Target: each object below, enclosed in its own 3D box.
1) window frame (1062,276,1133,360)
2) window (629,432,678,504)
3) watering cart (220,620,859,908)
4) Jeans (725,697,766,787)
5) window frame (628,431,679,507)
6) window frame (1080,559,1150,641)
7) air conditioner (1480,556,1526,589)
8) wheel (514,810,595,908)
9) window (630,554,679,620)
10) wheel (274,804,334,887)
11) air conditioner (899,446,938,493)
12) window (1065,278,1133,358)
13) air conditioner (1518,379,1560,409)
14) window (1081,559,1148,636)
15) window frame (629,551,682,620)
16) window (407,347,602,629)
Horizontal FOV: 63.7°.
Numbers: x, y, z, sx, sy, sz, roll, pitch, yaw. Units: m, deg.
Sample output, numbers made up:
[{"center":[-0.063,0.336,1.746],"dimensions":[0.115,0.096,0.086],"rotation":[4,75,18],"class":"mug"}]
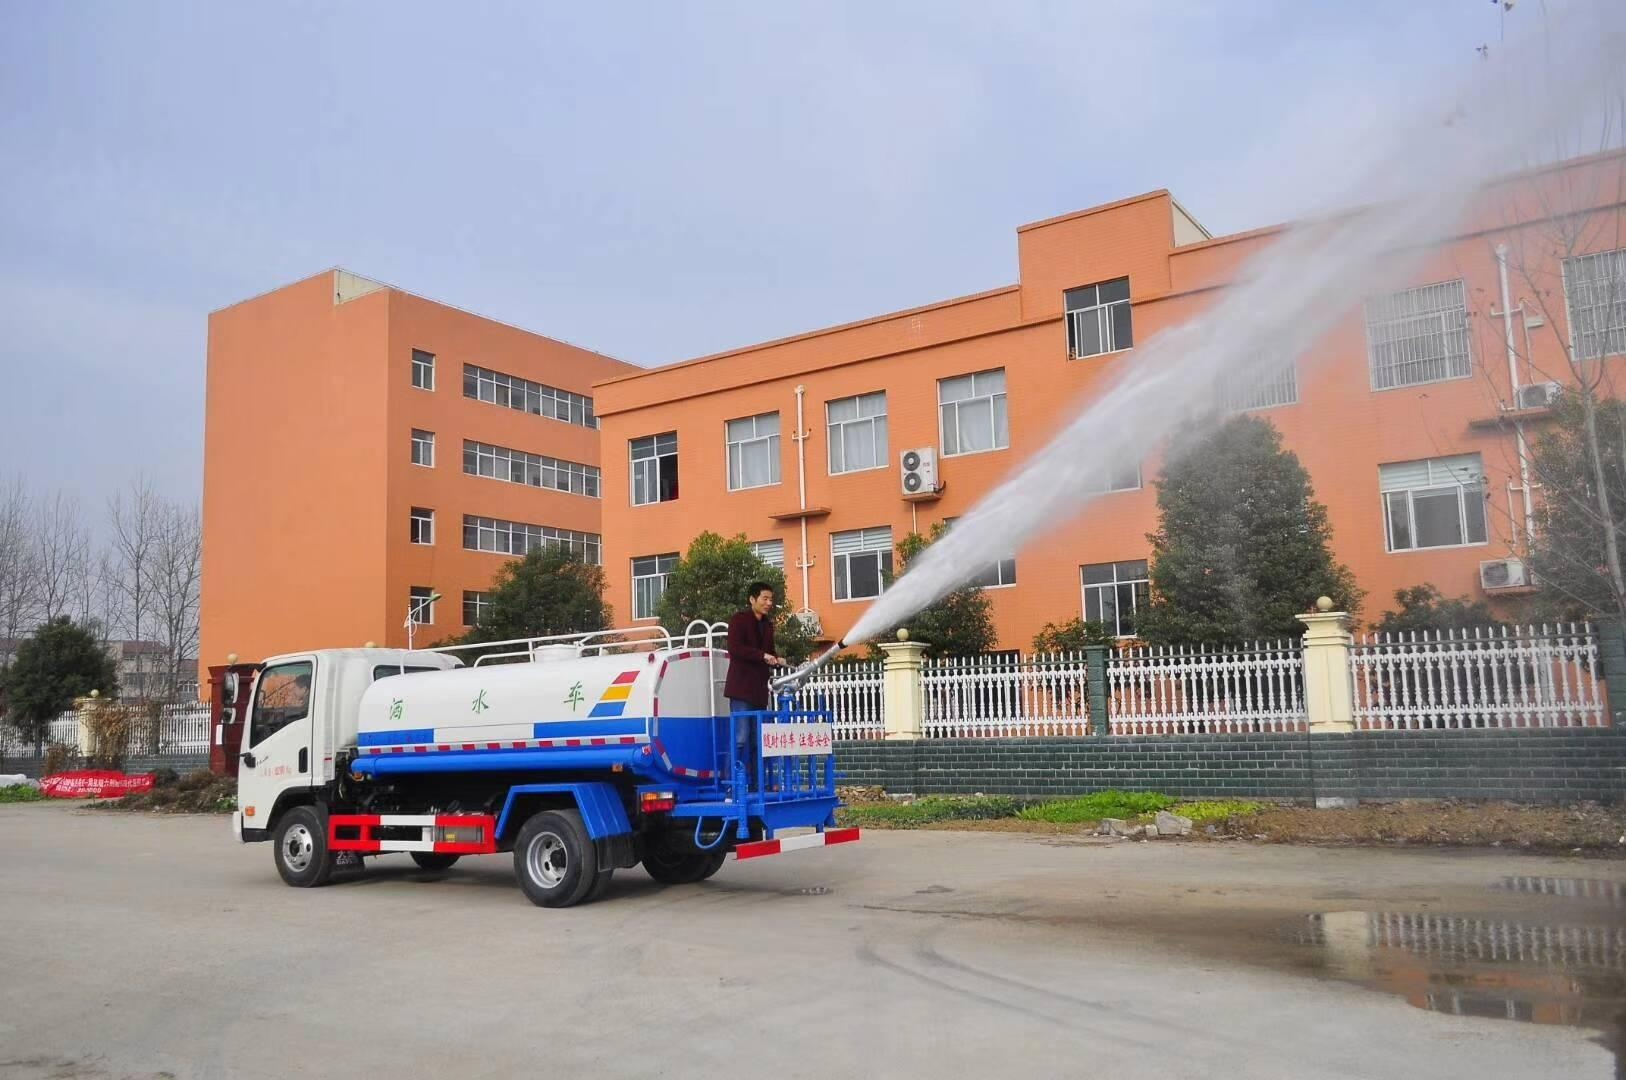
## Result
[{"center":[6.486,-5.107,29.822],"dimensions":[2.358,2.227,0.166],"rotation":[0,-2,40],"class":"window frame"},{"center":[-4.390,-1.981,36.631],"dimensions":[1.879,1.931,0.089],"rotation":[-10,-17,36],"class":"window"},{"center":[-3.800,2.772,16.830],"dimensions":[8.379,3.178,3.252],"rotation":[-4,-12,27],"class":"watering cart"},{"center":[-0.725,2.258,14.611],"dimensions":[0.376,0.990,0.239],"rotation":[-1,-11,-5],"class":"Jeans"},{"center":[-4.386,-1.958,36.610],"dimensions":[1.975,2.028,0.091],"rotation":[-10,-17,35],"class":"window frame"},{"center":[6.566,1.291,28.484],"dimensions":[1.677,1.780,0.072],"rotation":[-6,-14,43],"class":"window frame"},{"center":[12.890,0.652,24.639],"dimensions":[0.320,0.588,0.938],"rotation":[1,-3,-21],"class":"air conditioner"},{"center":[-2.867,3.583,14.791],"dimensions":[1.084,1.049,0.405],"rotation":[-5,-7,37],"class":"wheel"},{"center":[-4.102,1.227,34.306],"dimensions":[1.810,1.794,0.091],"rotation":[-3,-7,39],"class":"window"},{"center":[-6.345,3.846,16.467],"dimensions":[1.030,1.013,0.397],"rotation":[-3,-8,37],"class":"wheel"},{"center":[2.534,-1.699,31.491],"dimensions":[1.003,1.050,0.523],"rotation":[-9,-18,35],"class":"air conditioner"},{"center":[6.518,-5.094,29.810],"dimensions":[2.210,2.083,0.167],"rotation":[0,-2,40],"class":"window"},{"center":[13.076,-2.634,23.759],"dimensions":[0.849,0.586,0.487],"rotation":[0,3,13],"class":"air conditioner"},{"center":[6.603,1.257,28.708],"dimensions":[1.606,1.707,0.063],"rotation":[-5,-12,42],"class":"window"},{"center":[-4.058,1.185,34.140],"dimensions":[1.814,1.797,0.097],"rotation":[-5,-9,41],"class":"window frame"},{"center":[-10.565,-1.758,43.772],"dimensions":[3.462,9.213,9.949],"rotation":[-5,-6,24],"class":"window"}]
